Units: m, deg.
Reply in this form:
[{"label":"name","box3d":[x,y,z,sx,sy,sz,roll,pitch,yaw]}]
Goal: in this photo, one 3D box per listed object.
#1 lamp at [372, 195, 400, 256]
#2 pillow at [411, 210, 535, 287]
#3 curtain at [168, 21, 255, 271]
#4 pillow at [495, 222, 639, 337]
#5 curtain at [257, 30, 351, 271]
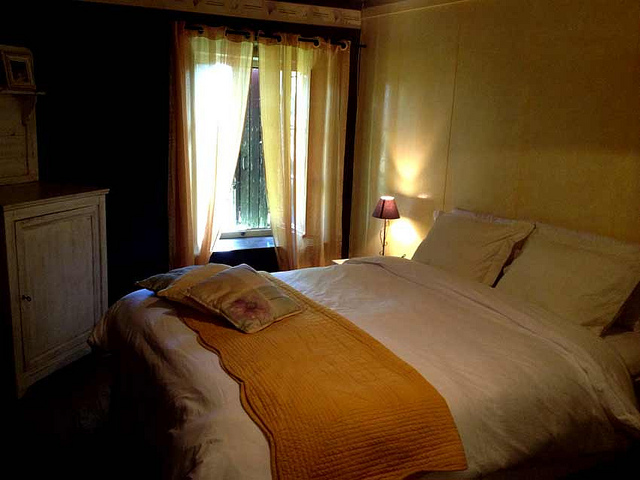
[{"label":"lamp","box3d":[0.579,-0.154,4.631,0.230,0.584,0.253,-2,11,-23]},{"label":"pillow","box3d":[1.106,0.047,3.657,0.592,0.578,0.143,20,-13,44]},{"label":"curtain","box3d":[-0.975,-0.938,4.496,0.713,2.300,0.191,-1,-9,-12]},{"label":"pillow","box3d":[1.623,0.221,3.111,0.114,0.656,0.686,36,-1,-36]},{"label":"curtain","box3d":[-0.141,-0.915,5.009,0.907,2.422,0.160,1,-4,0]}]
